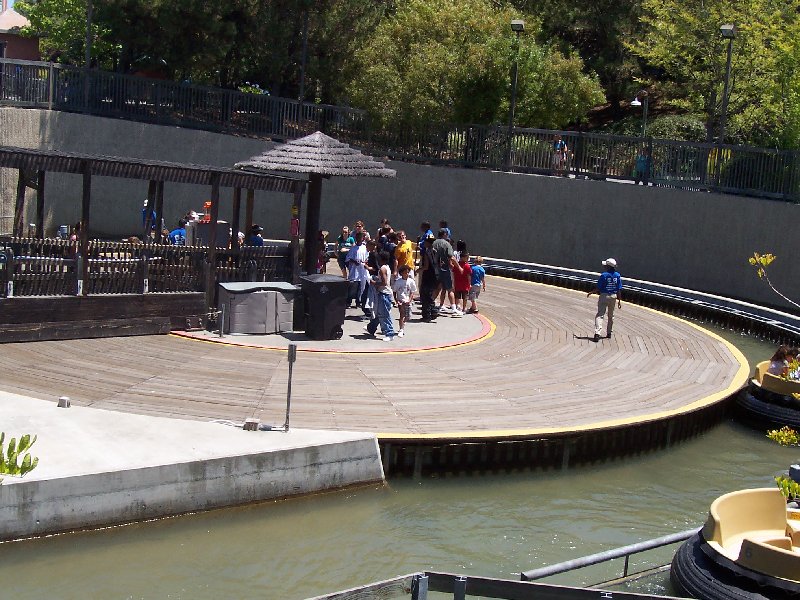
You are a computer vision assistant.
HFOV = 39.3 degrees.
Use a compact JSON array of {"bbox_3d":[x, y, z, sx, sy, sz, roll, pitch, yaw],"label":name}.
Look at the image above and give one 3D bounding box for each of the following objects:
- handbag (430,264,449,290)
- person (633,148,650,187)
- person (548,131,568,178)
[{"bbox_3d":[0.889,-0.512,24.870,0.509,0.755,0.380,-1,2,-20],"label":"handbag"},{"bbox_3d":[7.412,-4.102,34.415,0.440,1.097,0.216,2,5,13],"label":"person"},{"bbox_3d":[5.039,-4.604,35.638,0.554,1.254,0.186,2,5,14],"label":"person"}]
